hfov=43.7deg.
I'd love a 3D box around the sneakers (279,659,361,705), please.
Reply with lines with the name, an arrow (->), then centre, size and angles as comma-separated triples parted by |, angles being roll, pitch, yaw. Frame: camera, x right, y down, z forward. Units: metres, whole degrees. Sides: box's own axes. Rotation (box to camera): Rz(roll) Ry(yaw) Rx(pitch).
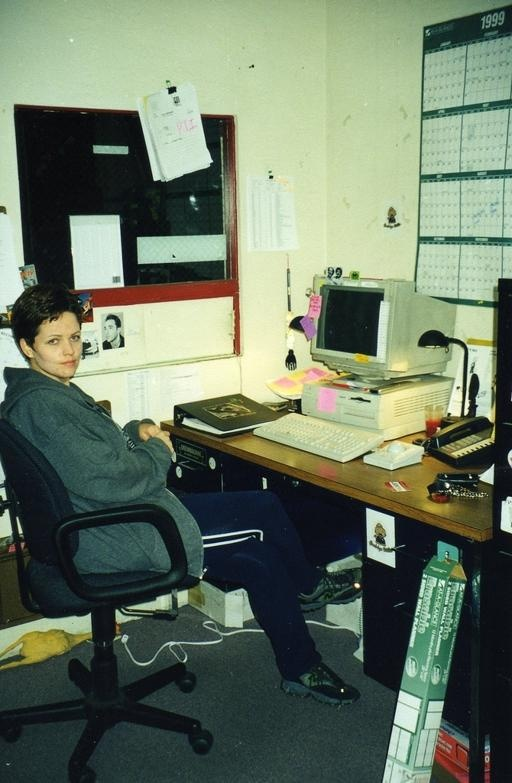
sneakers -> 0.195, 0.872, 1.943 | 0.227, 0.109, 0.105 | 1, 10, 18

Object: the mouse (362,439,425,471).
mouse -> 0.399, 0.181, 1.831 | 0.101, 0.043, 0.099 | -14, 16, -28

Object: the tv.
tv -> 0.452, -0.230, 2.307 | 0.354, 0.431, 0.494 | -6, 13, -31
